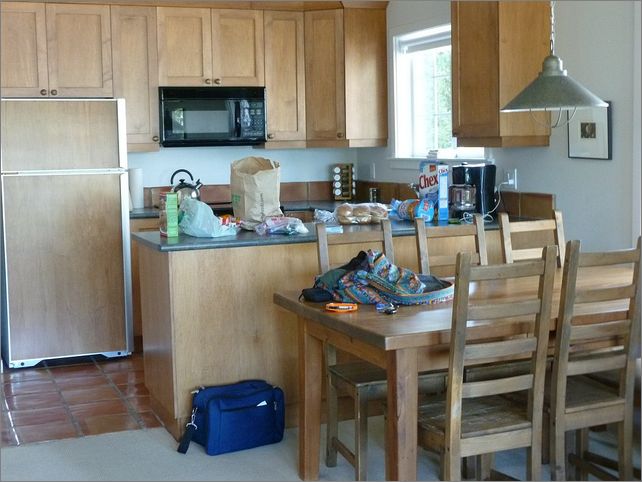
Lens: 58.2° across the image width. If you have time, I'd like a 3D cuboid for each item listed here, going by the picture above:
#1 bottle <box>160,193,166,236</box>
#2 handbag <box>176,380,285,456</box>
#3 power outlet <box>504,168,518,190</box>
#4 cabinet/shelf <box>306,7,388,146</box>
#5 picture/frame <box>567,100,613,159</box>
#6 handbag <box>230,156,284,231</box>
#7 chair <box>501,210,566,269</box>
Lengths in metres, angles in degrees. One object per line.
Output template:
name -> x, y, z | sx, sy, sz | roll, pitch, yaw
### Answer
bottle -> -0.925, -0.154, 3.351 | 0.019, 0.250, 0.121 | -6, 9, -26
handbag -> -0.461, 0.794, 3.072 | 0.609, 0.350, 0.316 | -1, 1, -30
power outlet -> 1.369, -0.443, 4.140 | 0.019, 0.171, 0.161 | 0, 1, -24
cabinet/shelf -> 0.235, -1.514, 5.359 | 0.762, 1.231, 0.203 | -1, 8, 1
picture/frame -> 1.576, -0.648, 3.340 | 0.016, 0.339, 0.318 | -4, 8, -21
handbag -> -0.406, -0.301, 3.549 | 0.294, 0.436, 0.303 | -3, 8, -7
chair -> 1.161, -0.002, 3.141 | 0.331, 0.477, 0.259 | -1, 2, -6
